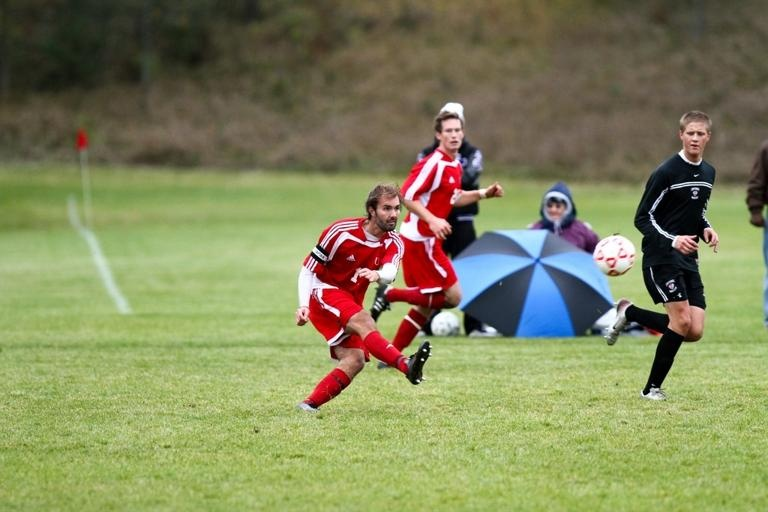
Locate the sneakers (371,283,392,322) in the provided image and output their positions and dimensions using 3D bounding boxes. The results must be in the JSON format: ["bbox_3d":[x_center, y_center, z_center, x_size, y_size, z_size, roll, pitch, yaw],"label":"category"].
[{"bbox_3d":[-0.035,0.629,15.132,0.280,0.545,0.197,13,6,4],"label":"sneakers"}]

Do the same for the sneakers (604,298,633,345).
[{"bbox_3d":[2.850,0.806,13.582,0.269,0.606,0.221,22,26,8],"label":"sneakers"}]

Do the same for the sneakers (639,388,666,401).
[{"bbox_3d":[3.205,1.638,13.143,0.251,0.131,0.106,2,7,0],"label":"sneakers"}]

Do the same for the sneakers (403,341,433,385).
[{"bbox_3d":[0.404,1.214,12.712,0.210,0.556,0.233,16,9,-41],"label":"sneakers"}]

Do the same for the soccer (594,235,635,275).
[{"bbox_3d":[2.889,0.002,13.624,0.496,0.477,0.492,-9,21,7],"label":"soccer"}]

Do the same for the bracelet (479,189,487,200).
[{"bbox_3d":[1.302,-0.819,14.473,0.108,0.106,0.076,5,49,15],"label":"bracelet"}]

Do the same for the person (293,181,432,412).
[{"bbox_3d":[-0.317,0.483,12.855,1.356,2.613,0.853,-1,8,-5],"label":"person"}]

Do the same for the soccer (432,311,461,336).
[{"bbox_3d":[0.874,0.978,15.884,0.403,0.332,0.330,0,-4,-32],"label":"soccer"}]

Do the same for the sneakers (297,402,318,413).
[{"bbox_3d":[-0.874,1.732,12.923,0.184,0.075,0.106,16,17,23],"label":"sneakers"}]

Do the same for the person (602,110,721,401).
[{"bbox_3d":[3.381,-0.016,13.138,1.079,3.368,0.642,2,8,15],"label":"person"}]
